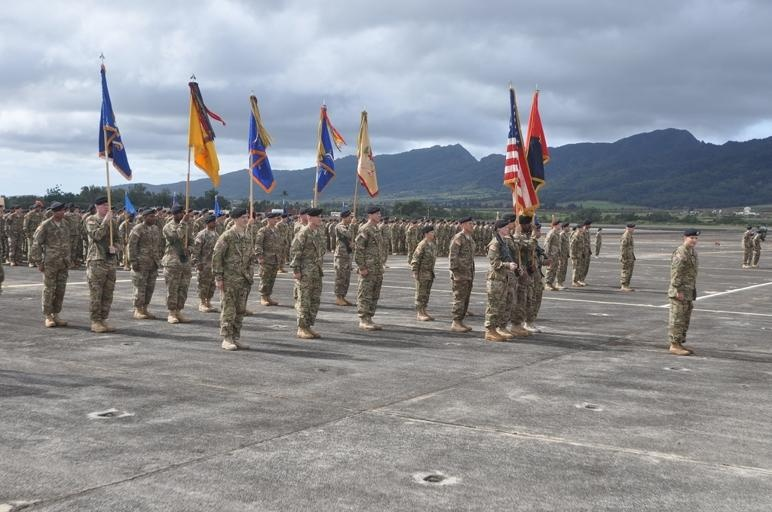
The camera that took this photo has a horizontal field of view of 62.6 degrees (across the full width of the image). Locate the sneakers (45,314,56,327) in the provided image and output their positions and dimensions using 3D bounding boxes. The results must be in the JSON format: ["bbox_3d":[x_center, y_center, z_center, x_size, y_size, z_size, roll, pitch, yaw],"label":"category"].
[{"bbox_3d":[-7.346,1.432,14.021,0.218,0.231,0.357,-2,7,-30],"label":"sneakers"}]

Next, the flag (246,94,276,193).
[{"bbox_3d":[-4.020,-3.607,20.715,0.771,3.025,4.508,0,6,-11],"label":"flag"}]

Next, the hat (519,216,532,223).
[{"bbox_3d":[3.188,-0.820,14.470,0.436,0.193,0.185,-4,8,-40],"label":"hat"}]

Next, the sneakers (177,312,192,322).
[{"bbox_3d":[-4.808,1.454,15.071,0.437,0.257,0.172,2,3,11],"label":"sneakers"}]

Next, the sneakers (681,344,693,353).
[{"bbox_3d":[5.860,1.832,12.462,0.236,0.149,0.353,4,6,24],"label":"sneakers"}]

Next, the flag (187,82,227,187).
[{"bbox_3d":[-4.698,-3.121,16.600,0.662,2.583,1.208,1,6,-9],"label":"flag"}]

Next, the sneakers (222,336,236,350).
[{"bbox_3d":[-2.980,1.699,12.221,0.279,0.183,0.342,-1,6,-19],"label":"sneakers"}]

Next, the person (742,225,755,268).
[{"bbox_3d":[19.307,-0.490,33.985,0.493,2.211,1.357,5,7,29],"label":"person"}]

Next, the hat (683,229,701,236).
[{"bbox_3d":[6.132,-0.465,12.860,0.213,0.076,0.227,-3,2,5],"label":"hat"}]

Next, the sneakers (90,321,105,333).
[{"bbox_3d":[-6.087,1.532,13.580,0.352,0.190,0.205,1,6,-8],"label":"sneakers"}]

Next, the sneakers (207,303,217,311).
[{"bbox_3d":[-4.574,1.403,16.865,0.142,0.176,0.439,-4,-13,-8],"label":"sneakers"}]

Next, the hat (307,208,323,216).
[{"bbox_3d":[-1.554,-0.974,14.084,0.298,0.166,0.570,1,6,-7],"label":"hat"}]

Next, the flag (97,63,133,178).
[{"bbox_3d":[-6.283,-3.052,14.787,0.645,2.517,1.833,-1,6,-22],"label":"flag"}]

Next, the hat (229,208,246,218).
[{"bbox_3d":[-2.977,-0.821,12.692,0.251,0.087,0.310,-19,9,-38],"label":"hat"}]

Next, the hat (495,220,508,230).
[{"bbox_3d":[2.496,-0.685,13.861,0.405,0.182,0.165,-4,8,-45],"label":"hat"}]

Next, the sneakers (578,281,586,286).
[{"bbox_3d":[7.492,1.073,24.567,0.171,0.192,0.497,6,11,36],"label":"sneakers"}]

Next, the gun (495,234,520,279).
[{"bbox_3d":[2.561,-0.066,13.885,0.470,1.214,0.297,21,-48,-17],"label":"gun"}]

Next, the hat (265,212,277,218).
[{"bbox_3d":[-3.099,-1.109,17.305,0.283,0.100,0.309,-2,3,-38],"label":"hat"}]

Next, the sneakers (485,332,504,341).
[{"bbox_3d":[2.292,1.729,13.483,0.310,0.169,0.156,-1,1,23],"label":"sneakers"}]

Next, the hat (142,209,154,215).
[{"bbox_3d":[-5.336,-1.004,14.347,0.209,0.071,0.207,1,2,5],"label":"hat"}]
